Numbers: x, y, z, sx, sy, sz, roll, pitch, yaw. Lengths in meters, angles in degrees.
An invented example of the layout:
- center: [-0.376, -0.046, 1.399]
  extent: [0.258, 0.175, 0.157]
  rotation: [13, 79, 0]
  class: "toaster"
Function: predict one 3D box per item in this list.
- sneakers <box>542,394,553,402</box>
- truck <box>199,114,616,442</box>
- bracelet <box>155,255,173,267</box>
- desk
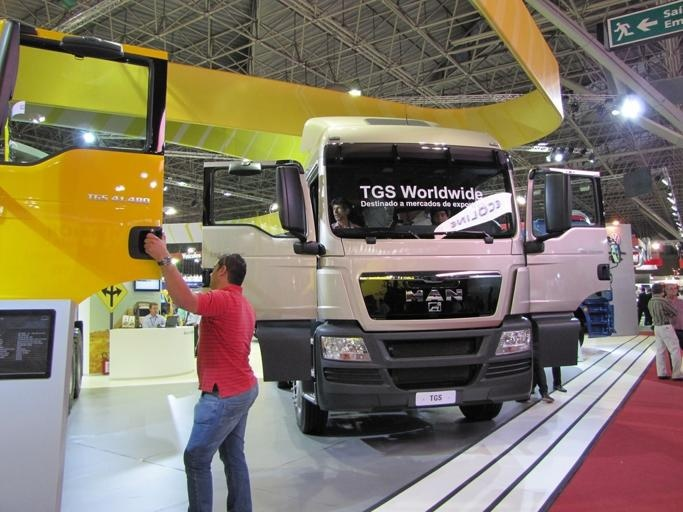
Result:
- center: [2.864, 1.979, 6.944]
  extent: [0.070, 0.061, 0.146]
  rotation: [0, -10, -7]
  class: "sneakers"
- center: [0.456, -0.032, 7.752]
  extent: [4.711, 3.447, 5.687]
  rotation: [0, 0, -10]
  class: "truck"
- center: [-1.268, 0.039, 3.570]
  extent: [0.088, 0.063, 0.098]
  rotation: [-10, 2, 37]
  class: "bracelet"
- center: [-4.091, 2.002, 10.756]
  extent: [1.927, 0.986, 0.996]
  rotation: [0, -3, -22]
  class: "desk"
